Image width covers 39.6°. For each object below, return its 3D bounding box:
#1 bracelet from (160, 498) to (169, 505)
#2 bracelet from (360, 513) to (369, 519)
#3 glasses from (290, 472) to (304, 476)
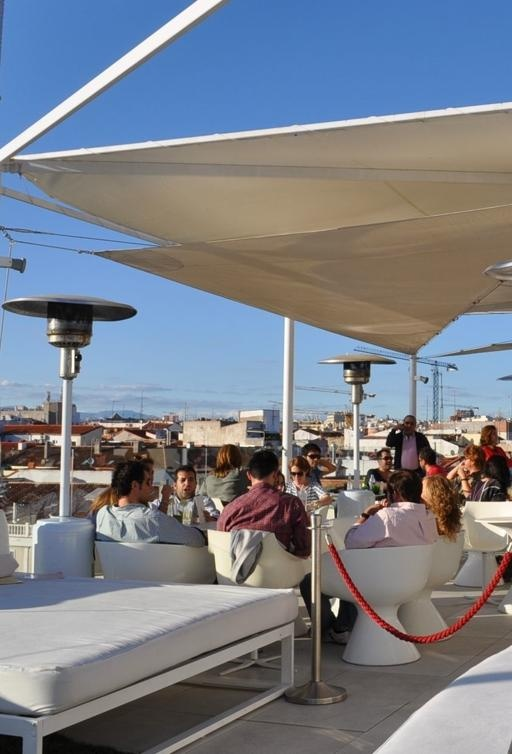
[{"bbox_3d":[-0.611,0.826,4.769,0.039,0.057,0.043,2,1,1],"label":"bracelet"},{"bbox_3d":[0.634,0.806,4.159,0.041,0.028,0.041,8,3,18],"label":"bracelet"},{"bbox_3d":[0.360,0.842,6.269,0.078,0.024,0.078,-1,-8,15],"label":"glasses"}]
